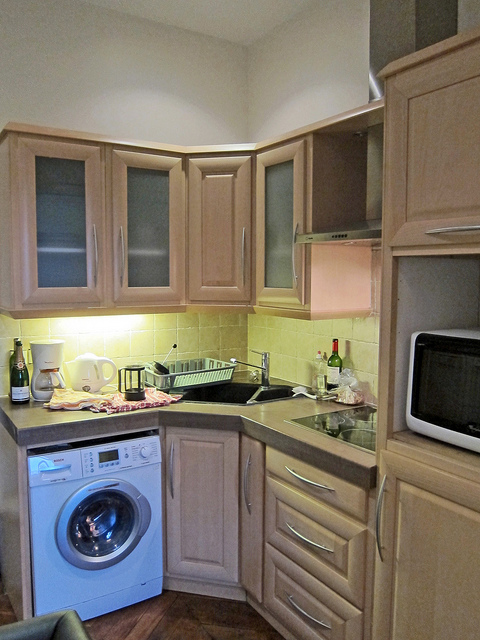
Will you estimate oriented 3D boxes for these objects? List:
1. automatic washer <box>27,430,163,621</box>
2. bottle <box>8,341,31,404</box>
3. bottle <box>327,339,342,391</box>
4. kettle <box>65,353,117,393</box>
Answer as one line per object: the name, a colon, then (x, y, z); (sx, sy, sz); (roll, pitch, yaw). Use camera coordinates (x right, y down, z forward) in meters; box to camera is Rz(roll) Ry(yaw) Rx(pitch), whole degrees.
automatic washer: (-0.645, 0.842, 2.235); (0.553, 0.783, 0.529); (-4, 9, -20)
bottle: (-1.023, 0.231, 2.310); (0.095, 0.280, 0.200); (-4, 6, -25)
bottle: (0.434, 0.194, 2.337); (0.068, 0.211, 0.066); (-1, 5, 0)
kettle: (-0.706, 0.260, 2.380); (0.223, 0.192, 0.146); (-3, 5, -17)
